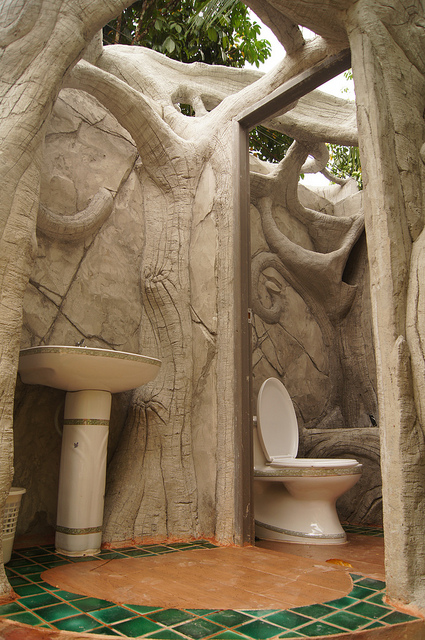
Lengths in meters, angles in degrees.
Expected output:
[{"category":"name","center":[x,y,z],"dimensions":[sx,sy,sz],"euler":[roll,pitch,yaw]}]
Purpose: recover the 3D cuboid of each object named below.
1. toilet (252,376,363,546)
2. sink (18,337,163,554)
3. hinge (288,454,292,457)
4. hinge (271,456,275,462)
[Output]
[{"category":"toilet","center":[0.500,0.815,3.095],"dimensions":[0.765,0.892,0.588],"euler":[-10,-16,38]},{"category":"sink","center":[-0.597,0.637,2.501],"dimensions":[0.578,0.957,0.714],"euler":[-17,-26,41]},{"category":"hinge","center":[0.489,0.855,3.286],"dimensions":[0.014,0.014,0.008],"euler":[-3,-4,41]},{"category":"hinge","center":[0.356,0.816,3.079],"dimensions":[0.024,0.024,0.014],"euler":[-1,-4,-1]}]
